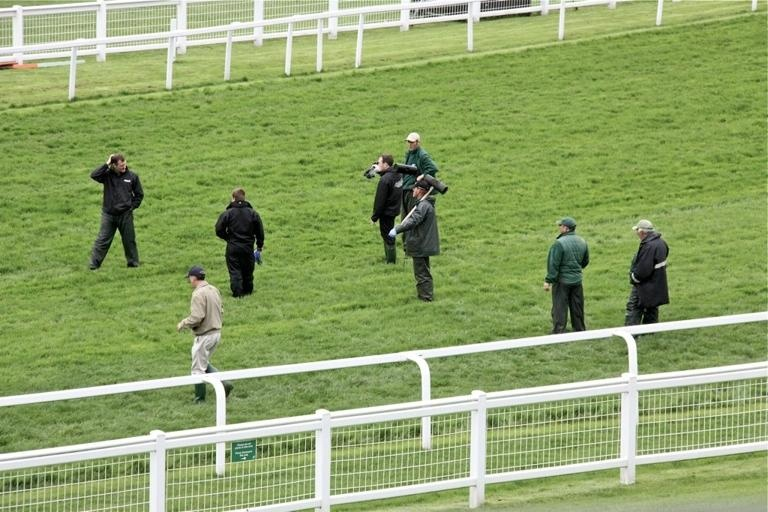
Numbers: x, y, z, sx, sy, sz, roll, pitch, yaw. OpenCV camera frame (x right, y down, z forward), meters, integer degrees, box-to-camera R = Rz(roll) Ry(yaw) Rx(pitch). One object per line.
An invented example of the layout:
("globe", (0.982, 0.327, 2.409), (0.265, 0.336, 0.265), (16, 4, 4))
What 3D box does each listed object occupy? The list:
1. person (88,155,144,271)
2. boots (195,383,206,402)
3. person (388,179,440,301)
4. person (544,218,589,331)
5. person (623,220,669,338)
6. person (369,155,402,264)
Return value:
("person", (-5.358, -0.860, 41.098), (1.112, 2.278, 0.571), (-6, 9, -18))
("boots", (-3.321, 2.474, 37.346), (0.182, 0.327, 0.136), (-3, 9, 4))
("person", (0.672, -0.288, 40.210), (0.752, 2.474, 0.664), (-3, 9, 1))
("person", (3.398, 0.337, 39.367), (0.904, 2.050, 0.767), (2, -1, -13))
("person", (4.956, 0.349, 39.214), (0.826, 1.969, 0.498), (-3, 9, 5))
("person", (0.101, -0.867, 41.595), (0.690, 2.198, 1.039), (0, 4, 12))
